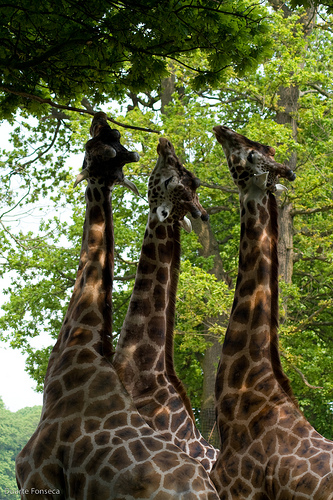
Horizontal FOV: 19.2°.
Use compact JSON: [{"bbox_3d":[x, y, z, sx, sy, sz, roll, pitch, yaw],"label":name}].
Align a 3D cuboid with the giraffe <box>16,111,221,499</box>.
[{"bbox_3d":[-0.323,0.283,6.940,1.232,2.941,0.507,-9,-23,38],"label":"giraffe"}]
